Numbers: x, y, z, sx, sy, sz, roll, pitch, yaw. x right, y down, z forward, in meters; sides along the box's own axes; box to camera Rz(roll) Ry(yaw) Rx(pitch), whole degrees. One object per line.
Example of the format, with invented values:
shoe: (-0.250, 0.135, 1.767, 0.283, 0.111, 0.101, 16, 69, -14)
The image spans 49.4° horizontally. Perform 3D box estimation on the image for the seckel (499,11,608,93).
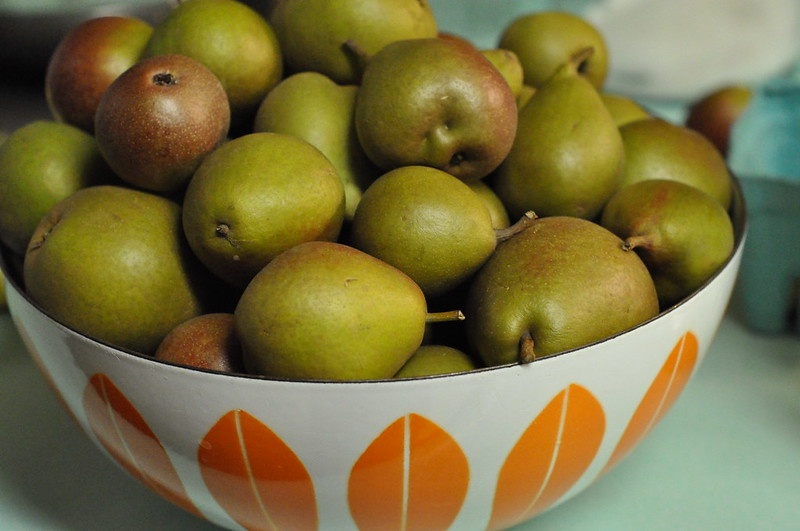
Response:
seckel: (0.197, -0.263, 1.120, 0.132, 0.112, 0.109, 19, 14, 5)
